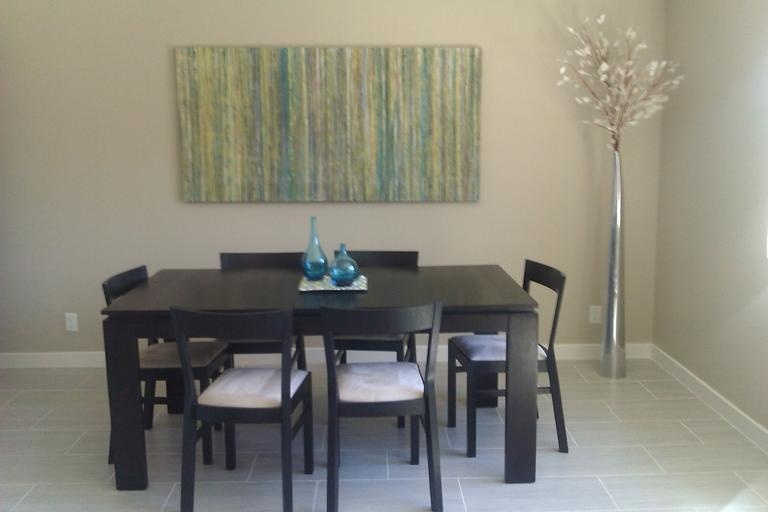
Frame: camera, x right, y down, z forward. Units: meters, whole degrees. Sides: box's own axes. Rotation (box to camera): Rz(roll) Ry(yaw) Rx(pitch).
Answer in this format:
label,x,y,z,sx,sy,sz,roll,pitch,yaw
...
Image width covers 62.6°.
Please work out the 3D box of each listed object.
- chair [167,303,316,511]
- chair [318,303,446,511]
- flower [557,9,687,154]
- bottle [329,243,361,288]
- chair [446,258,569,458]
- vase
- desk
label,x,y,z,sx,sy,sz,roll,pitch,yaw
chair,-0.828,0.861,3.736,0.725,1.237,0.493,-1,15,2
chair,0.005,0.874,3.750,0.667,1.258,0.537,-1,15,4
flower,1.946,-1.443,5.392,0.953,1.269,1.141,-1,13,-2
bottle,-0.270,0.050,4.263,0.261,0.345,0.247,0,2,0
chair,0.845,0.700,4.479,0.742,1.193,0.782,-2,4,-2
vase,1.867,0.066,5.025,0.191,1.813,0.375,3,16,20
desk,-0.260,1.127,4.557,2.589,1.228,1.400,0,2,-2
